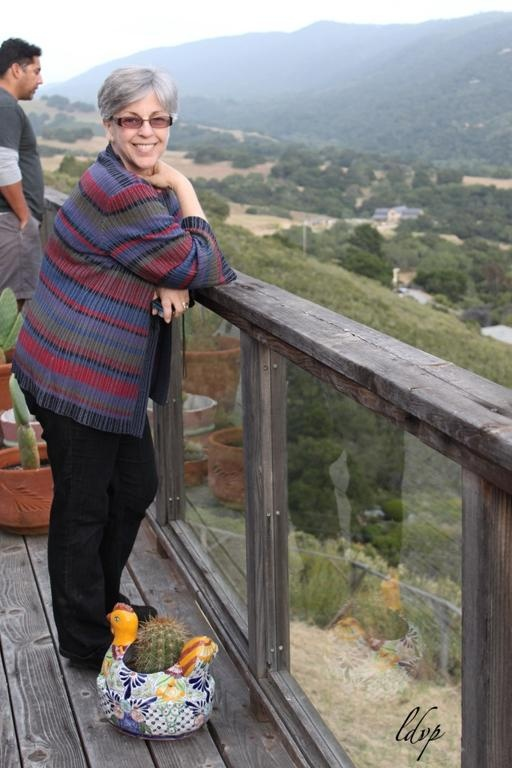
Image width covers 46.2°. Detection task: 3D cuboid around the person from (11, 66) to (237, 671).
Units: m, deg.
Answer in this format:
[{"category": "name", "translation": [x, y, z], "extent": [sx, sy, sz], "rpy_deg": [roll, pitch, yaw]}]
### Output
[{"category": "person", "translation": [-0.297, 0.028, 1.314], "extent": [0.474, 1.294, 0.300], "rpy_deg": [3, 14, 14]}]

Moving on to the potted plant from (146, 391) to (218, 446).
[{"category": "potted plant", "translation": [-0.195, 0.093, 1.662], "extent": [0.178, 0.075, 0.192], "rpy_deg": [0, -1, 0]}]

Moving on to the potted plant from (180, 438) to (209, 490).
[{"category": "potted plant", "translation": [-0.170, 0.222, 1.696], "extent": [0.131, 0.092, 0.118], "rpy_deg": [-2, 10, -18]}]

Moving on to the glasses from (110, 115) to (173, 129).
[{"category": "glasses", "translation": [-0.212, -0.494, 1.137], "extent": [0.112, 0.029, 0.051], "rpy_deg": [-3, 14, -10]}]
